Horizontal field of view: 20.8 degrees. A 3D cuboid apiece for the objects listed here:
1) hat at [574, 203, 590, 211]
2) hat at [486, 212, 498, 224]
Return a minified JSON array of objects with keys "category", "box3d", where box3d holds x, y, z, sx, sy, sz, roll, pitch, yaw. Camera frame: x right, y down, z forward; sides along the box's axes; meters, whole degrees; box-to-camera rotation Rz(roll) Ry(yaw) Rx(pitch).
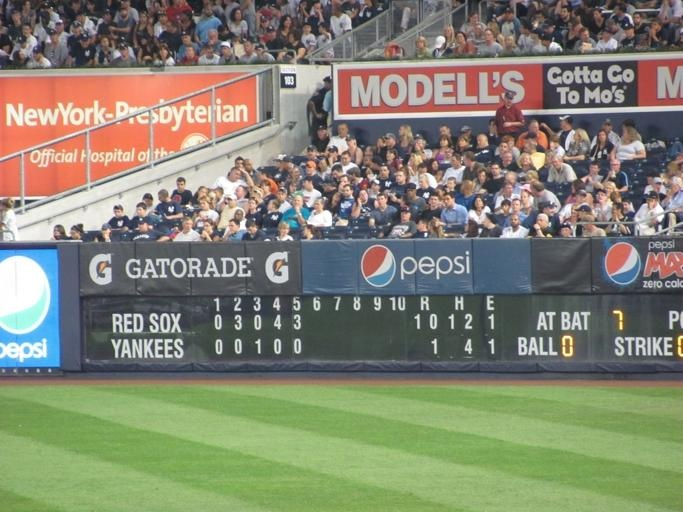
[{"category":"hat","box3d":[4.966,-0.996,37.972,0.298,0.185,0.442,-3,-3,7]},{"category":"hat","box3d":[3.024,-0.755,37.200,0.156,0.220,0.181,3,-9,-29]}]
